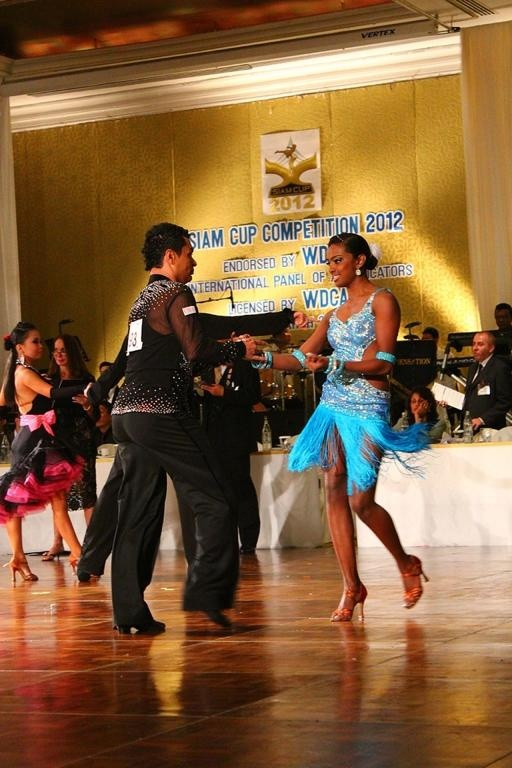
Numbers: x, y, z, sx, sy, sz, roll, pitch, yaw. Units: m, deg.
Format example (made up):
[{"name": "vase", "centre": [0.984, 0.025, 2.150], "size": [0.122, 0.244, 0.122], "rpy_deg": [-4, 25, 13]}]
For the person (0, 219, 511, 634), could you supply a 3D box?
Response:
[{"name": "person", "centre": [-0.005, 0.204, 2.829], "size": [1.494, 1.219, 0.516], "rpy_deg": [-13, 7, -15]}]

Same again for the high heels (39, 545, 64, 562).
[{"name": "high heels", "centre": [-1.849, 1.538, 6.158], "size": [0.140, 0.089, 0.238], "rpy_deg": [-15, -11, 5]}]
